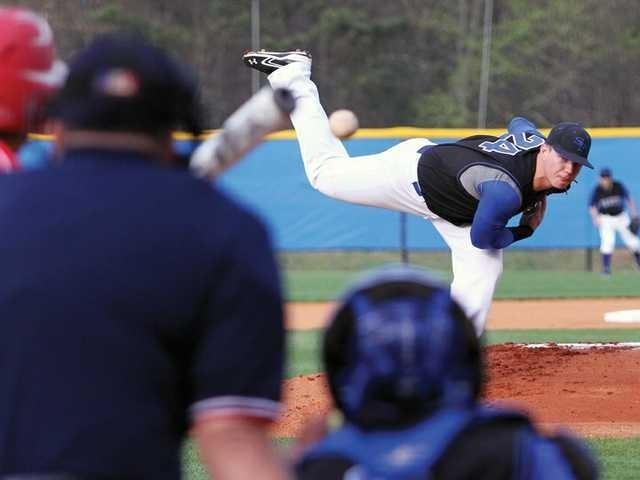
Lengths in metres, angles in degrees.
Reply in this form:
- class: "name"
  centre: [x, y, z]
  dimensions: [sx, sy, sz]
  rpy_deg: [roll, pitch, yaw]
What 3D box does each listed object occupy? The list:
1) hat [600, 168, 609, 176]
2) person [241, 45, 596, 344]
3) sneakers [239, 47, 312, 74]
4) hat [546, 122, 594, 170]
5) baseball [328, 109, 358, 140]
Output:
- class: "hat"
  centre: [2.884, -0.695, 11.148]
  dimensions: [0.091, 0.085, 0.092]
  rpy_deg: [1, 2, 26]
- class: "person"
  centre: [0.593, -0.143, 6.295]
  dimensions: [1.998, 1.568, 0.904]
  rpy_deg: [16, 37, 23]
- class: "sneakers"
  centre: [-0.259, -1.043, 6.328]
  dimensions: [0.450, 0.213, 0.161]
  rpy_deg: [1, 12, 15]
- class: "hat"
  centre: [1.262, -0.509, 5.650]
  dimensions: [0.185, 0.135, 0.264]
  rpy_deg: [22, 13, -33]
- class: "baseball"
  centre: [0.128, -0.659, 6.127]
  dimensions: [0.161, 0.184, 0.157]
  rpy_deg: [1, 57, -2]
